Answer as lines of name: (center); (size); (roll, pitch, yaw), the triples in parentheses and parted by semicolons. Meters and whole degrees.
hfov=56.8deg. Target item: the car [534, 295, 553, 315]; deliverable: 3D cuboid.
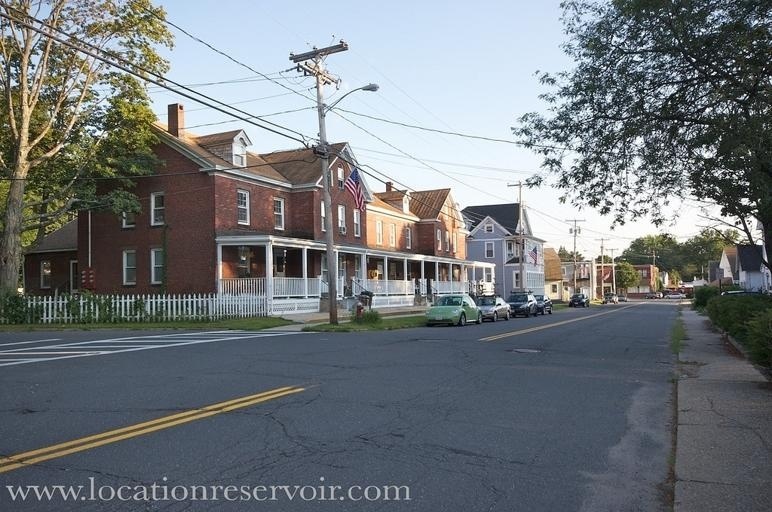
car: (11.177, 3.522, 50.634); (0.983, 0.740, 1.954); (-1, 2, 20)

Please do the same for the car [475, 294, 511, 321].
car: (5.885, 2.950, 39.676); (1.091, 0.780, 2.401); (-4, -9, 23)

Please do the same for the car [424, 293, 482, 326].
car: (3.366, 2.845, 35.183); (1.857, 1.540, 3.170); (3, 8, 24)

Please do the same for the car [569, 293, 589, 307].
car: (19.158, 4.442, 70.821); (1.108, 1.020, 2.088); (-5, -11, 23)

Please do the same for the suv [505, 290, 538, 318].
suv: (8.663, 3.112, 45.849); (1.363, 1.110, 2.161); (-4, -11, 21)
